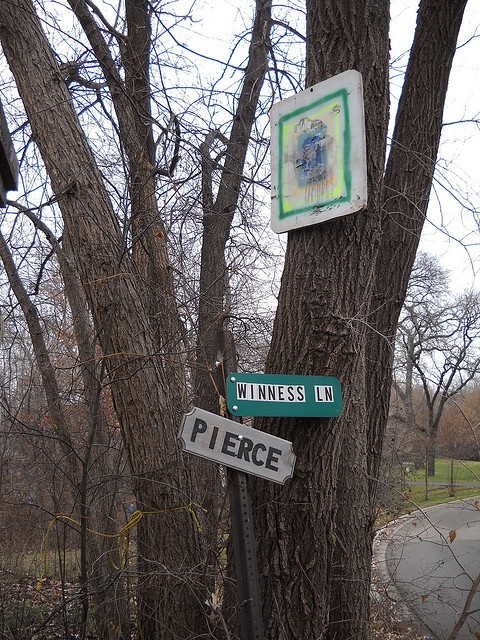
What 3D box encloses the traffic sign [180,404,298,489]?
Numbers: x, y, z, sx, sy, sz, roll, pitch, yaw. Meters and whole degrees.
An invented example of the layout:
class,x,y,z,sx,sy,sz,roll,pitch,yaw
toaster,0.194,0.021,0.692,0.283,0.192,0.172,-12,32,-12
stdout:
class,x,y,z,sx,sy,sz,roll,pitch,yaw
traffic sign,0.005,0.595,3.669,0.511,0.252,0.106,17,-11,-16
